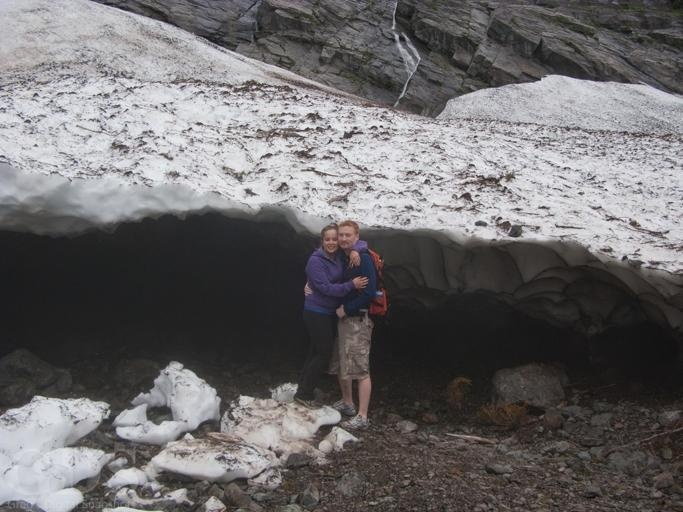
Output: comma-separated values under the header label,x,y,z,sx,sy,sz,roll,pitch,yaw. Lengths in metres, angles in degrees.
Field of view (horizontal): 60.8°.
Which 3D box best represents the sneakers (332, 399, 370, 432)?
label,x,y,z,sx,sy,sz,roll,pitch,yaw
sneakers,0.041,1.828,6.684,0.519,0.182,0.185,11,15,30
